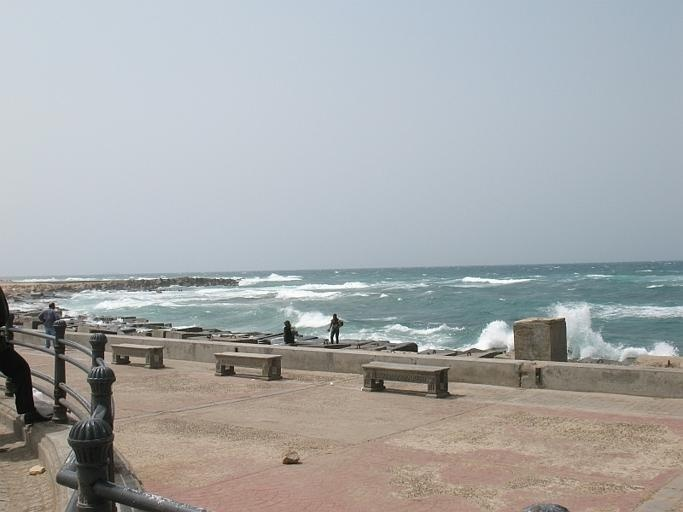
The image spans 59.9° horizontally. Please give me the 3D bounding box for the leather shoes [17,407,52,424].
[{"bbox_3d":[-4.008,2.112,7.849,0.347,0.185,0.294,4,-4,-33],"label":"leather shoes"}]

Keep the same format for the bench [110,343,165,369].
[{"bbox_3d":[-5.584,2.746,16.364,1.922,0.585,0.524,-1,-5,36],"label":"bench"}]
